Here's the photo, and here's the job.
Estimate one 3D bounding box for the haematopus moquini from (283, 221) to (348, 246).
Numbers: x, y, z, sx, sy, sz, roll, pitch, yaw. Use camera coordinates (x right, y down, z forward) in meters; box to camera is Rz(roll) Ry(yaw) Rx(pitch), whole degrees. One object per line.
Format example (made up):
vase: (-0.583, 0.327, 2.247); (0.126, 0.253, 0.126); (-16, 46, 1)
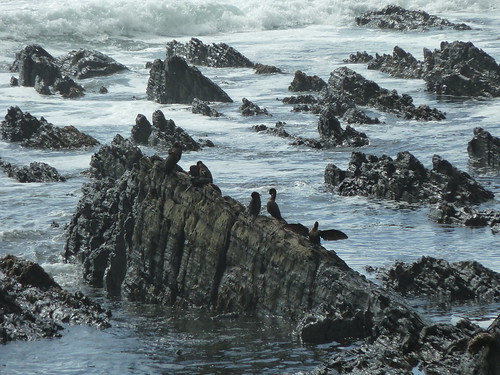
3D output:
haematopus moquini: (2.899, 2.008, 53.255); (2.709, 0.914, 0.579); (3, 14, 7)

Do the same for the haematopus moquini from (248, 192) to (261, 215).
haematopus moquini: (0.208, 0.729, 53.808); (0.523, 1.087, 0.520); (2, 14, 0)

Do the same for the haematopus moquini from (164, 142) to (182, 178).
haematopus moquini: (-3.620, -1.321, 55.407); (0.825, 1.377, 0.506); (22, 14, -38)
